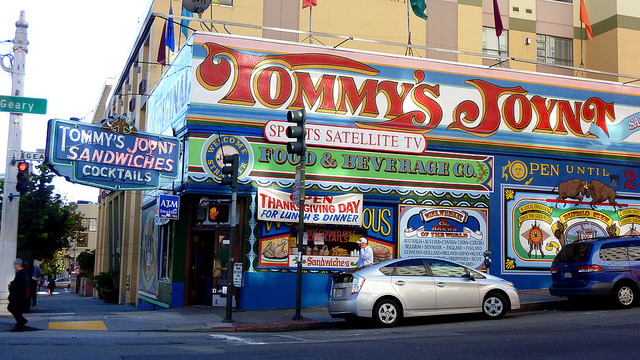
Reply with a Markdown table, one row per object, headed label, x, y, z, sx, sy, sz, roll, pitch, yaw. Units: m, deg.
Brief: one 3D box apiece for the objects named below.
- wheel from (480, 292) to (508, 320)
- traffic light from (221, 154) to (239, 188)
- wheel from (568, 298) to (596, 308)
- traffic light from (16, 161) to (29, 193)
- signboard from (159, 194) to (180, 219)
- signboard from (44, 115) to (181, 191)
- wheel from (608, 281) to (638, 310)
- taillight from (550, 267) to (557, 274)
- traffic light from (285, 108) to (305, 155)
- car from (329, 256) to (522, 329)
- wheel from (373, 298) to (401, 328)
| label | x | y | z | sx | sy | sz | roll | pitch | yaw |
| --- | --- | --- | --- | --- | --- | --- | --- | --- | --- |
| wheel | 7.621 | 5.562 | 33.860 | 1.164 | 1.150 | 0.385 | -2 | -8 | -5 |
| traffic light | -4.043 | -0.415 | 34.617 | 0.765 | 1.469 | 0.650 | -2 | 7 | -8 |
| wheel | 12.438 | 5.863 | 36.578 | 0.755 | 0.200 | 0.724 | 0 | -4 | 0 |
| traffic light | -13.887 | -0.129 | 35.981 | 0.547 | 1.446 | 0.661 | -2 | 7 | -5 |
| signboard | -7.293 | 1.321 | 37.325 | 1.129 | 1.240 | 0.162 | 4 | -10 | -28 |
| signboard | -9.567 | -1.161 | 36.683 | 6.390 | 3.778 | 0.340 | 7 | -17 | -28 |
| wheel | 13.648 | 5.174 | 34.695 | 1.333 | 1.312 | 0.421 | 0 | -5 | -12 |
| taillight | 10.839 | 4.224 | 35.617 | 0.061 | 0.324 | 0.359 | -5 | 8 | -25 |
| traffic light | -1.044 | -2.127 | 34.202 | 0.800 | 2.017 | 0.515 | -2 | 8 | -5 |
| car | 4.320 | 4.813 | 34.275 | 6.650 | 2.346 | 3.450 | -2 | -7 | -13 |
| wheel | 2.983 | 5.772 | 33.131 | 1.137 | 1.142 | 0.412 | -2 | -3 | 24 |
